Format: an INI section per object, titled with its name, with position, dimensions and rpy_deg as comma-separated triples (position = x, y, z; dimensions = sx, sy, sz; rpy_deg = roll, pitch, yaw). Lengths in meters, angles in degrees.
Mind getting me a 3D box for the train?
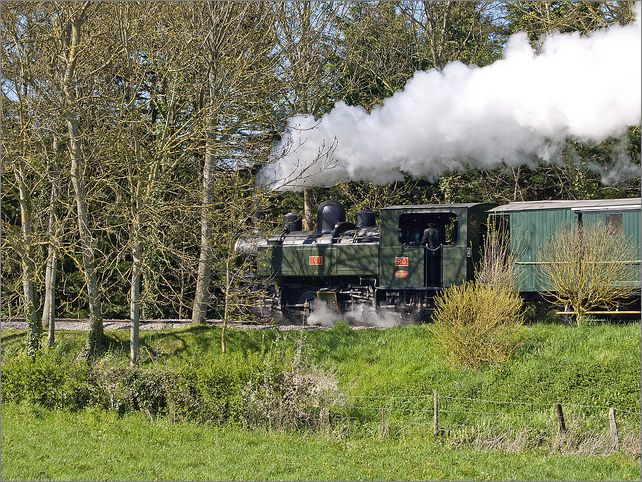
[train]
position = 3.213, 0.435, 25.836
dimensions = 13.336, 4.218, 7.807
rpy_deg = -2, -5, 14
